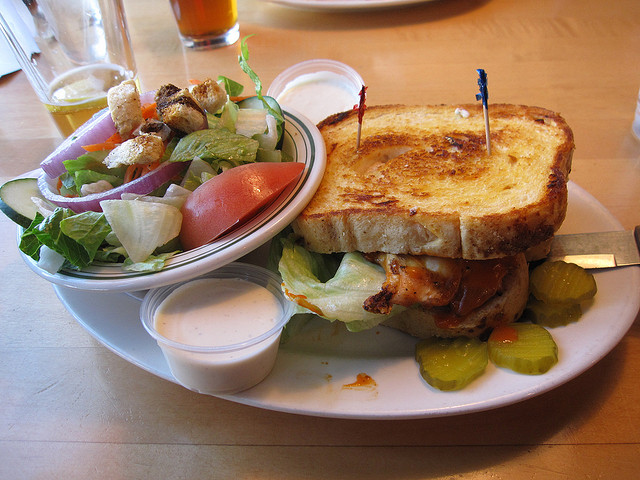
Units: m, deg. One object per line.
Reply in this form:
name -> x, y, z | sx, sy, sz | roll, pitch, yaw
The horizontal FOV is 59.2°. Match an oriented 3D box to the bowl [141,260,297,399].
bowl -> -0.303, 0.273, 1.732 | 0.451, 0.197, 0.445 | 1, 30, 0
